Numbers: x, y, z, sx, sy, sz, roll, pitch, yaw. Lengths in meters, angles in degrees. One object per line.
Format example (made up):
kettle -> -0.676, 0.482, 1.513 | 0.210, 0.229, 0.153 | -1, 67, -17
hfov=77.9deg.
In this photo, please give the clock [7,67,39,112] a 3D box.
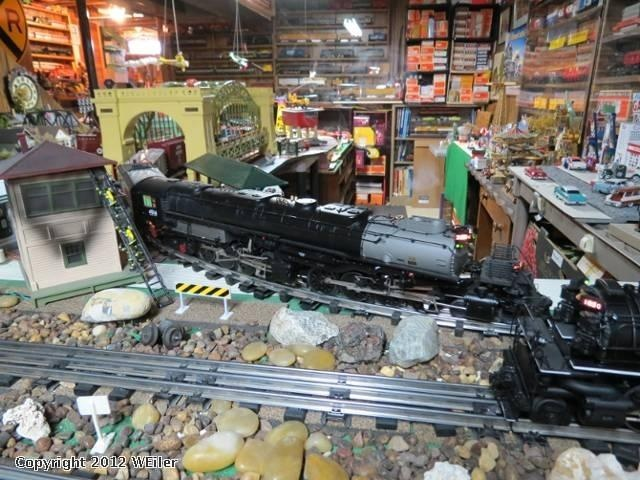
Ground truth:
clock -> -7.262, -3.681, 9.719 | 0.177, 0.794, 0.840 | -1, 7, 15
